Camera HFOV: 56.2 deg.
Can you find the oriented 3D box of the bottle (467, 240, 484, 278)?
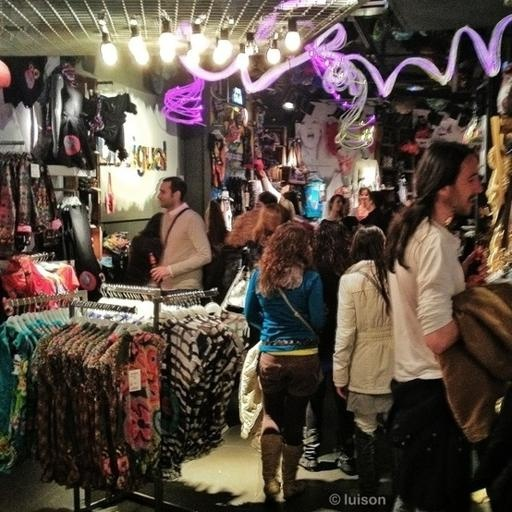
[{"bbox_3d":[1.066,0.004,2.334,0.069,0.061,0.214,-18,-25,6],"label":"bottle"}]

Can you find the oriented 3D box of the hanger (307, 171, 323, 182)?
[{"bbox_3d":[1.267,-1.753,10.383,0.238,0.142,0.282,1,5,-7],"label":"hanger"}]
